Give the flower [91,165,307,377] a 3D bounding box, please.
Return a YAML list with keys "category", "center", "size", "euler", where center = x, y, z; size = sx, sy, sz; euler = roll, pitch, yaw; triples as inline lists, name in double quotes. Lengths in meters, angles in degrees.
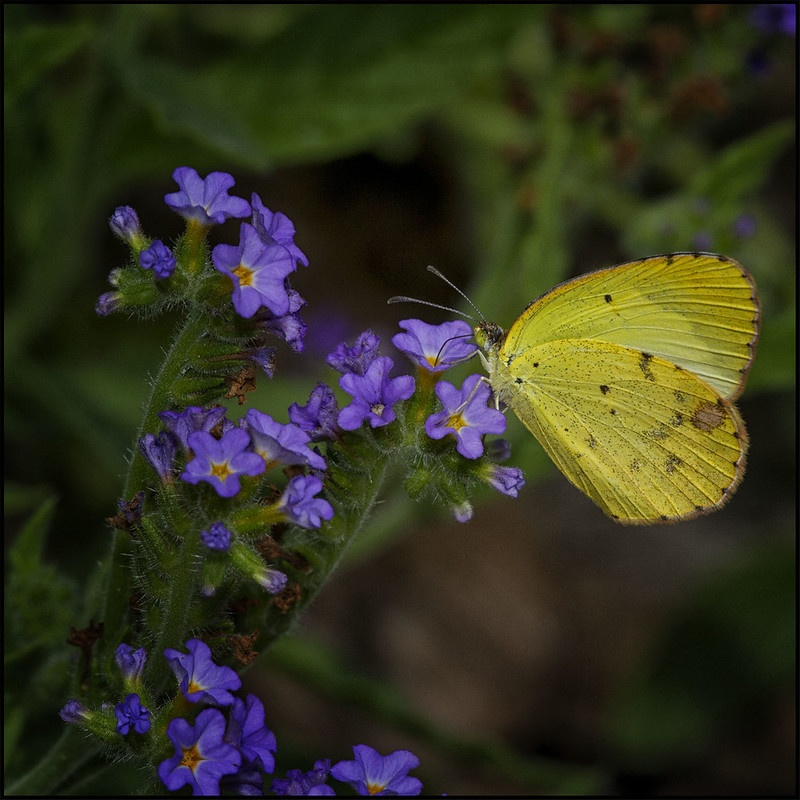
- category: "flower"
  center: [-0.555, -0.403, 3.359]
  size: [0.707, 0.262, 0.662]
  euler: [15, 72, 5]
